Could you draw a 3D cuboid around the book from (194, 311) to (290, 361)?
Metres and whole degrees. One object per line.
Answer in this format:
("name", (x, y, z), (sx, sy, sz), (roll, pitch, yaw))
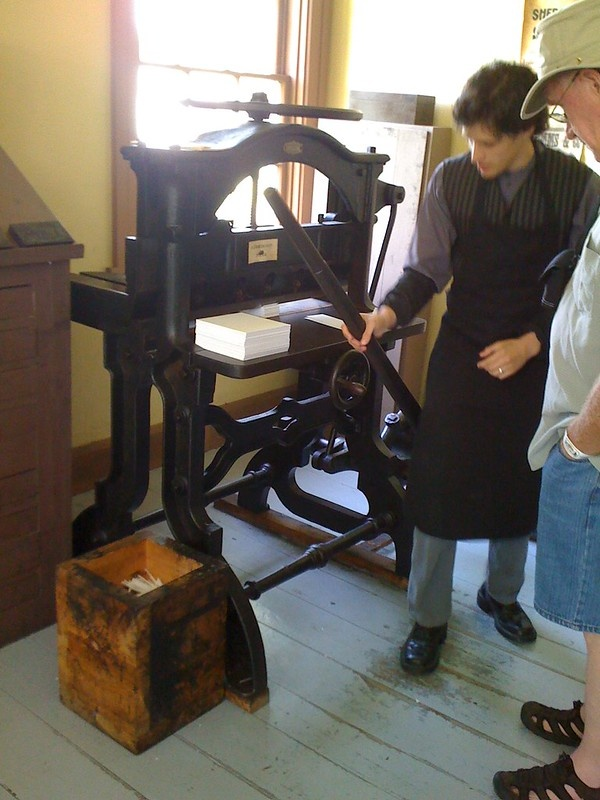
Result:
("book", (-0.155, -0.181, 1.610), (0.149, 0.053, 0.153), (16, 20, 37))

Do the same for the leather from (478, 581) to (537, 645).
("leather", (0.652, 0.676, 2.185), (0.086, 0.089, 0.222), (-18, 31, -27))

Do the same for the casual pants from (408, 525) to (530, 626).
("casual pants", (0.508, 0.534, 2.036), (0.337, 0.389, 0.122), (-10, 22, -28))

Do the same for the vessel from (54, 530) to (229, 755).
("vessel", (-0.380, 0.572, 1.670), (0.405, 0.329, 0.400), (5, 9, 14))

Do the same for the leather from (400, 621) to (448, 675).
("leather", (0.351, 0.705, 1.945), (0.074, 0.072, 0.179), (11, 15, 20))
